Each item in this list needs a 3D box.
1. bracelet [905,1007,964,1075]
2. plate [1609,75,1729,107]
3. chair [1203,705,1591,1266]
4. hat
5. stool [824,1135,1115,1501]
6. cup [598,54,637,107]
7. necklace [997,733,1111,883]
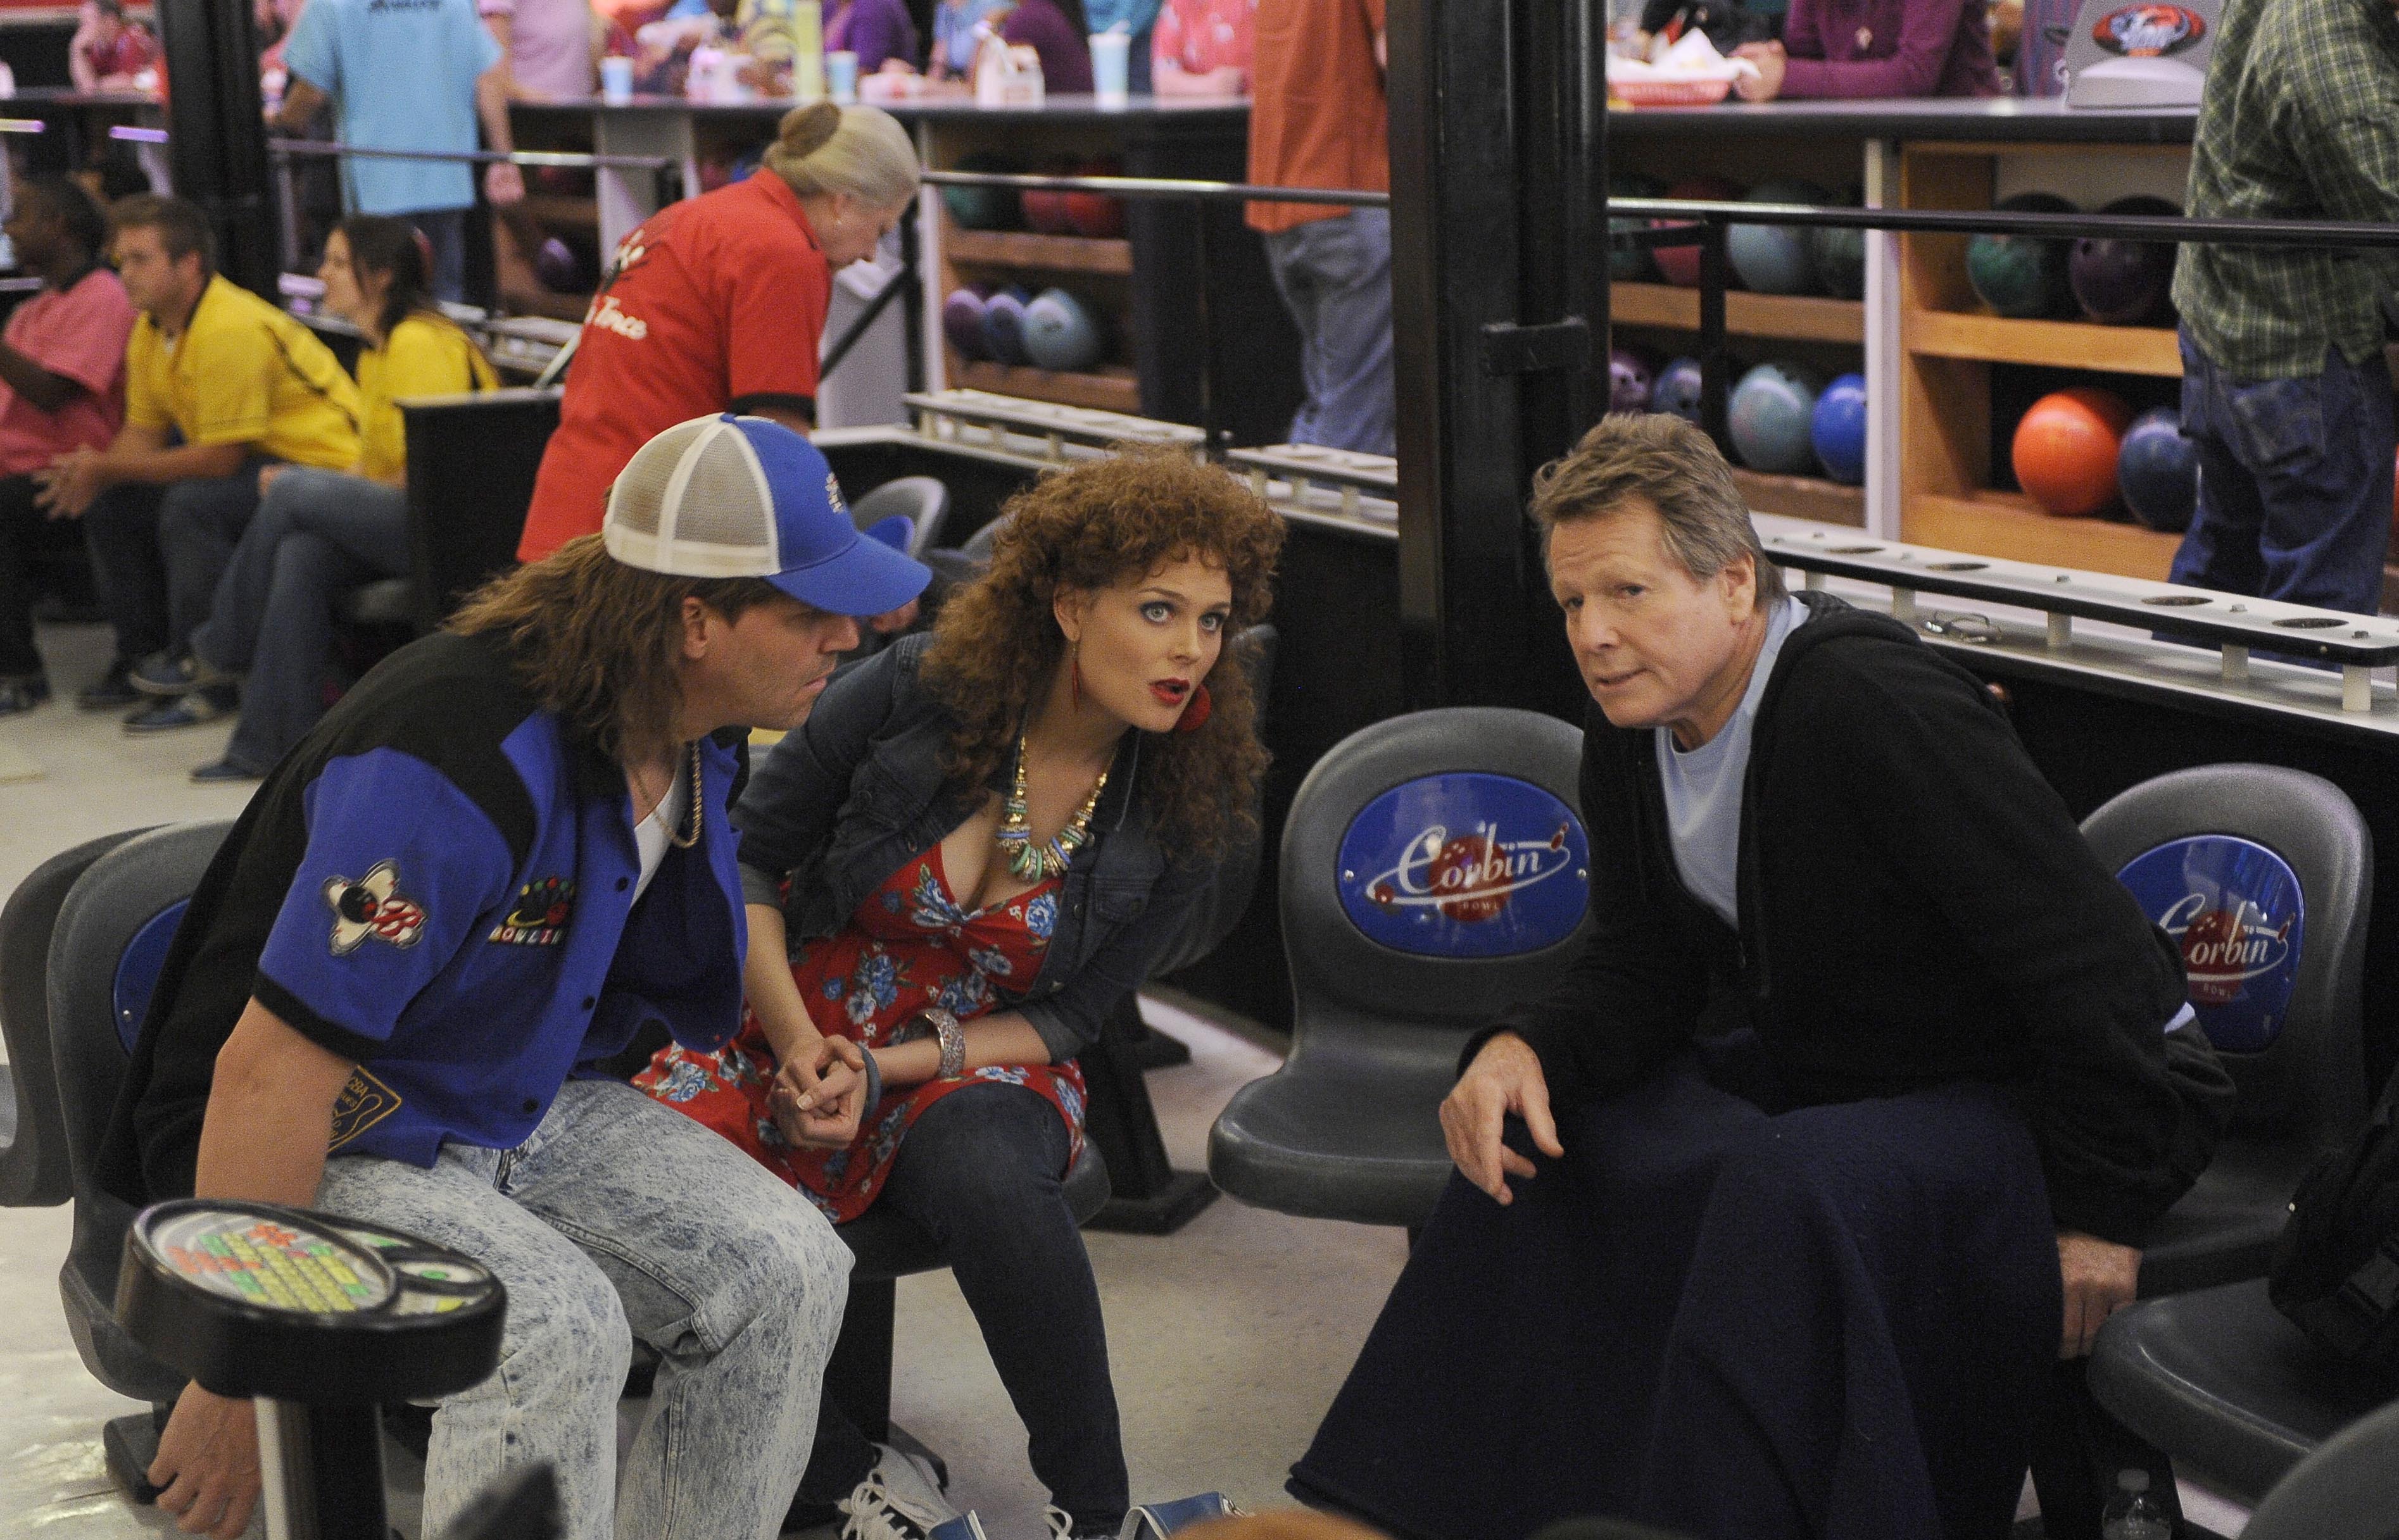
[{"bbox_3d":[-0.380,0.393,2.786,0.087,0.092,0.076,-6,-9,-8],"label":"bracelet"},{"bbox_3d":[1.555,-2.299,6.412,0.297,0.093,0.294,-2,9,-20],"label":"plate"},{"bbox_3d":[0.370,0.260,3.275,0.758,0.938,0.795,4,8,14],"label":"chair"},{"bbox_3d":[-0.545,-0.325,2.399,0.356,0.189,0.231,3,24,-10],"label":"hat"},{"bbox_3d":[-0.411,0.864,3.129,0.473,0.660,0.566,-4,16,-15],"label":"stool"},{"bbox_3d":[-2.801,-3.350,9.240,0.214,0.239,0.218,0,15,0],"label":"cup"},{"bbox_3d":[-0.236,0.063,2.926,0.132,0.211,0.063,17,-17,-2],"label":"necklace"}]
